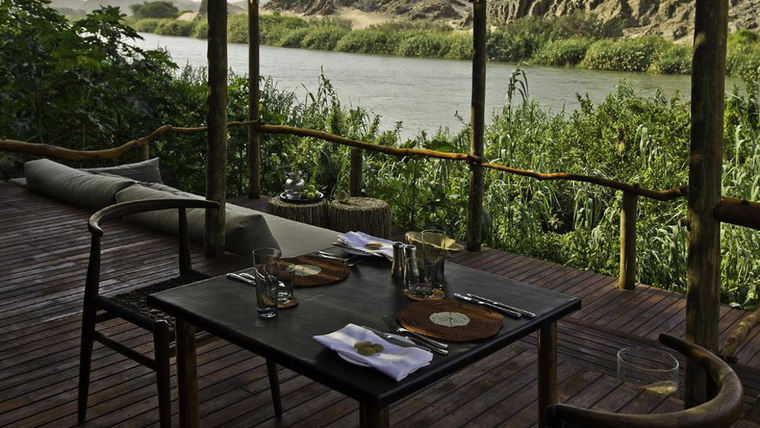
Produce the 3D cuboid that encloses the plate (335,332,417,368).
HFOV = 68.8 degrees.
[{"bbox_3d":[-0.027,0.688,2.889,0.385,0.108,0.210,-6,19,-23],"label":"plate"}]

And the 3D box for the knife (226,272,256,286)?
[{"bbox_3d":[-0.849,0.379,3.414,0.264,0.052,0.078,13,7,29],"label":"knife"}]

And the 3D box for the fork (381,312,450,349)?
[{"bbox_3d":[0.182,0.627,2.954,0.375,0.039,0.098,22,60,19],"label":"fork"}]

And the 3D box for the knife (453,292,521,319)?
[{"bbox_3d":[0.568,0.521,3.222,0.497,0.053,0.117,14,15,32],"label":"knife"}]

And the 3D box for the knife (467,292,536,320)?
[{"bbox_3d":[0.653,0.528,3.204,0.476,0.038,0.111,17,15,32],"label":"knife"}]

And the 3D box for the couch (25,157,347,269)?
[{"bbox_3d":[-2.098,-0.126,5.676,3.434,0.673,0.998,17,20,33],"label":"couch"}]

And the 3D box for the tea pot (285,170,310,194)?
[{"bbox_3d":[-0.945,-0.362,6.335,0.271,0.254,0.203,3,-2,-1],"label":"tea pot"}]

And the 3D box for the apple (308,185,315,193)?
[{"bbox_3d":[-0.762,-0.295,6.283,0.066,0.063,0.066,6,17,32],"label":"apple"}]

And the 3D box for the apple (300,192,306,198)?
[{"bbox_3d":[-0.847,-0.211,6.183,0.070,0.054,0.055,-8,11,-36],"label":"apple"}]
